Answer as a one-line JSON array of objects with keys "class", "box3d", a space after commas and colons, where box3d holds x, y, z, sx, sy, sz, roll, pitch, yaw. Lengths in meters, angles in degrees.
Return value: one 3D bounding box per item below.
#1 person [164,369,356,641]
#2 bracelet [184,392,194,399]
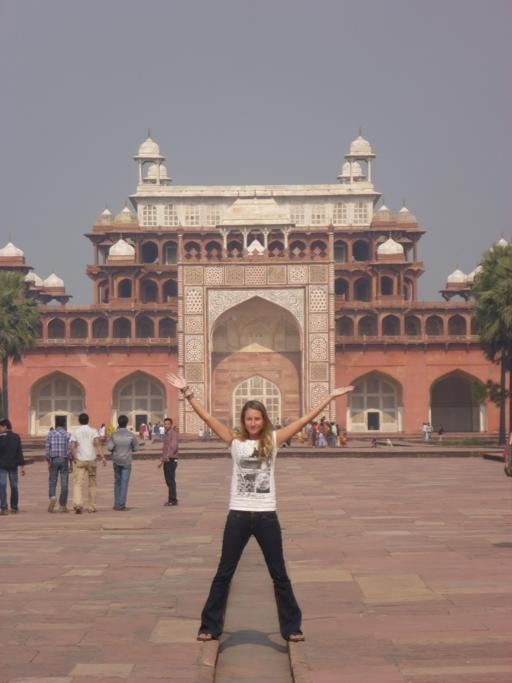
[{"class": "person", "box3d": [-0.023, 0.780, 5.921, 0.640, 1.167, 0.478, 0, -6, -4]}, {"class": "bracelet", "box3d": [-0.334, 0.252, 6.106, 0.039, 0.029, 0.039, 0, -7, 5]}]
